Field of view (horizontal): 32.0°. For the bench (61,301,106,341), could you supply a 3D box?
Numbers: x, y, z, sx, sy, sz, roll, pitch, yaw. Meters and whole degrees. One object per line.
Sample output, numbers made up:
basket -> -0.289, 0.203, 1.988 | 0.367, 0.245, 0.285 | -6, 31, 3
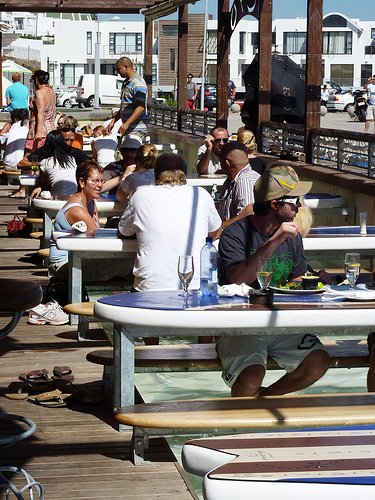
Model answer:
bench -> -0.619, 0.474, 4.385 | 0.377, 0.200, 0.375 | 6, -12, -32

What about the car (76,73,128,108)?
car -> -4.664, -9.649, 40.047 | 4.204, 1.966, 1.938 | -5, 16, -26

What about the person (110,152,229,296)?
person -> -0.101, -0.087, 3.844 | 0.661, 0.899, 0.507 | -2, 21, -3

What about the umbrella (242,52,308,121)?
umbrella -> 1.489, -2.805, 11.165 | 0.996, 1.429, 2.305 | 3, 6, 7

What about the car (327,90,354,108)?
car -> 9.051, -8.960, 39.071 | 1.541, 0.726, 0.824 | -15, 20, -27

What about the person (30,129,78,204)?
person -> -1.512, -0.825, 7.685 | 0.458, 1.054, 0.642 | -12, 18, -31

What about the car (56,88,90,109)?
car -> -7.259, -9.654, 41.348 | 2.262, 1.102, 1.348 | 2, 5, -6

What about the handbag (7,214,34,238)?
handbag -> -2.301, -0.353, 9.124 | 0.367, 0.176, 0.507 | 3, 0, -19

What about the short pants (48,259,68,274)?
short pants -> -1.096, 0.135, 5.561 | 0.079, 0.137, 0.266 | -2, 7, -40

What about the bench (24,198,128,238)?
bench -> -1.019, -0.292, 6.765 | 1.381, 0.437, 0.918 | 0, 7, -19

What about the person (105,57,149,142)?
person -> -0.778, -2.138, 9.257 | 0.462, 1.113, 0.906 | 2, 6, -5

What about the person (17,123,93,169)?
person -> -1.982, -1.351, 9.295 | 0.666, 0.712, 0.587 | -1, -37, -20

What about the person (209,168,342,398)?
person -> 0.372, 0.226, 3.062 | 0.604, 1.163, 0.567 | -5, 8, -29

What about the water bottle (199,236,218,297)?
water bottle -> 0.097, 0.073, 2.749 | 0.112, 0.258, 0.110 | 0, -4, 0
